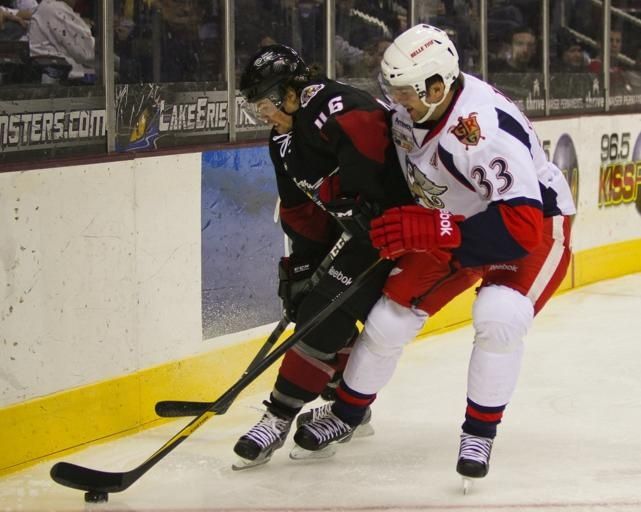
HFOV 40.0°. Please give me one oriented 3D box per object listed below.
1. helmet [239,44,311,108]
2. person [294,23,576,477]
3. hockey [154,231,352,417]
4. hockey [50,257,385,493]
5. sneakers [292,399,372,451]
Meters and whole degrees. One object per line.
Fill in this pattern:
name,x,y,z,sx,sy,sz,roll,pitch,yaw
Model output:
helmet,-0.182,-0.661,3.331,0.213,0.249,0.194,56,-7,-32
person,0.440,-0.012,3.214,0.857,1.600,0.534,4,15,21
hockey,-0.306,0.297,3.709,0.137,0.947,0.140,32,-19,15
hockey,-0.438,0.490,3.516,0.152,1.109,0.173,46,-10,29
sneakers,0.022,0.662,3.508,0.137,0.161,0.394,50,25,15
